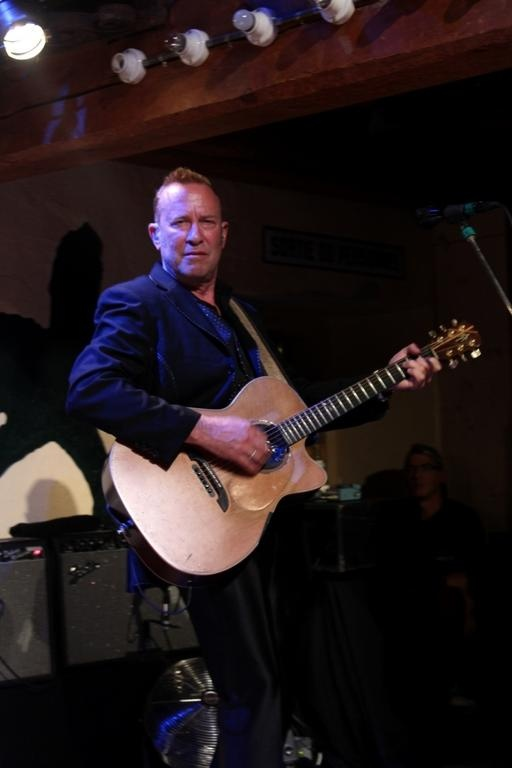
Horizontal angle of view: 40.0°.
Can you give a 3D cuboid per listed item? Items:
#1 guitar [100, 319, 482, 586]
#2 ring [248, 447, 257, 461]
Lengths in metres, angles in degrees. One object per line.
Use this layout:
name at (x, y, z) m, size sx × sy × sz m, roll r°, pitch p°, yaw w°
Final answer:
guitar at (0.100, 0.170, 2.102) m, size 1.308 × 0.468 × 0.166 m, roll -30°, pitch -2°, yaw -37°
ring at (-0.006, 0.183, 1.825) m, size 0.015 × 0.026 × 0.007 m, roll 43°, pitch -33°, yaw -22°
